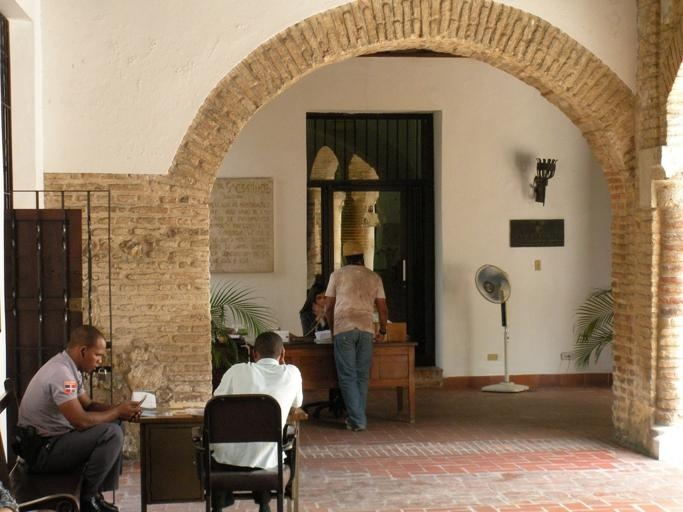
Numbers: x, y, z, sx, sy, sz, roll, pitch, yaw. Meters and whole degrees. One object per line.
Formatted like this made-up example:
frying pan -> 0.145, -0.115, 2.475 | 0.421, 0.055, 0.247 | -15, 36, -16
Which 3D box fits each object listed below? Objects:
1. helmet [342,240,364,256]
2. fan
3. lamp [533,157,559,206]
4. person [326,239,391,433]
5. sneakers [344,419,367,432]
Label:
helmet -> 0.133, -0.095, 9.523 | 0.207, 0.173, 0.326 | -3, 3, 8
fan -> 2.366, 1.079, 11.257 | 0.598, 1.912, 0.907 | 2, 4, 44
lamp -> 3.096, -1.150, 11.571 | 0.306, 0.719, 0.209 | 0, 3, 15
person -> 0.189, 0.979, 9.254 | 0.697, 2.227, 0.519 | -1, 3, -12
sneakers -> 0.141, 2.047, 9.183 | 0.107, 0.152, 0.290 | -1, 3, -20
